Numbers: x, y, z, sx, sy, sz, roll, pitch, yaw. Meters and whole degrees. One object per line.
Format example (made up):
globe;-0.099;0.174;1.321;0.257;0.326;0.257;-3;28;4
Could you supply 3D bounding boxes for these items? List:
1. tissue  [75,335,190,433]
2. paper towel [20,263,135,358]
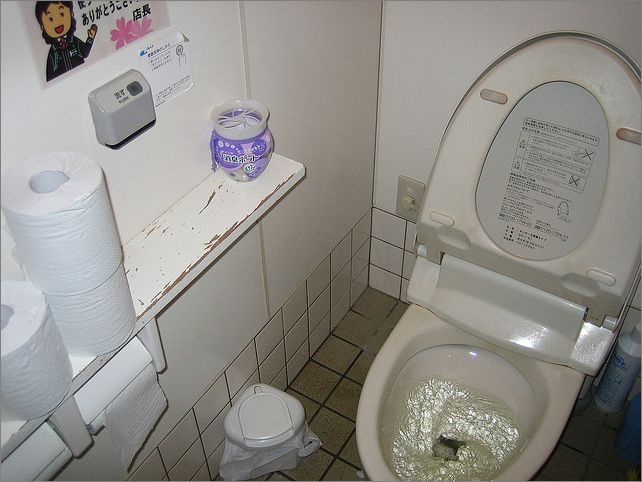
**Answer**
tissue ;-0.340;0.293;0.890;0.137;0.107;0.144;22;48;20
paper towel;-0.335;0.120;0.728;0.120;0.145;0.129;14;41;15
